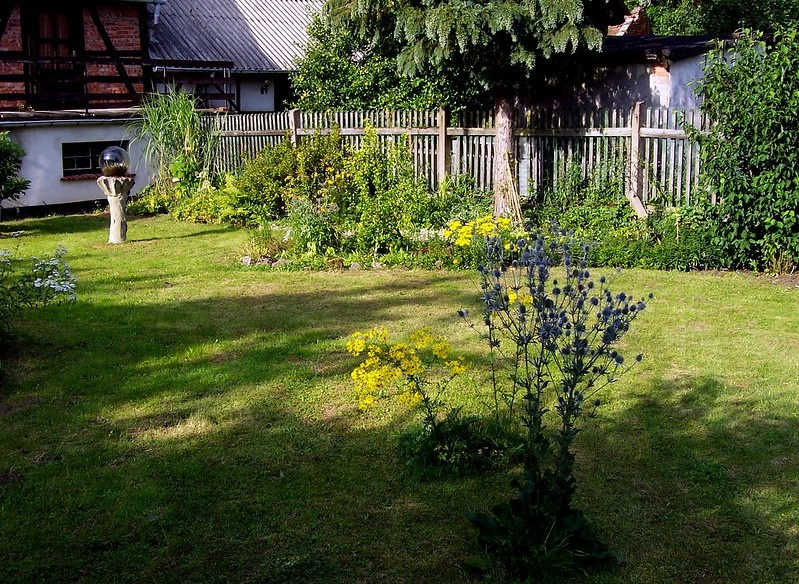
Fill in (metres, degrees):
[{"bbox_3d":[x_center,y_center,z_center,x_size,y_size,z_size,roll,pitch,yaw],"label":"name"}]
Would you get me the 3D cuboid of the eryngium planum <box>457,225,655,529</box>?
[{"bbox_3d":[1.445,0.645,8.063,1.680,3.232,1.853,5,17,8],"label":"eryngium planum"}]
